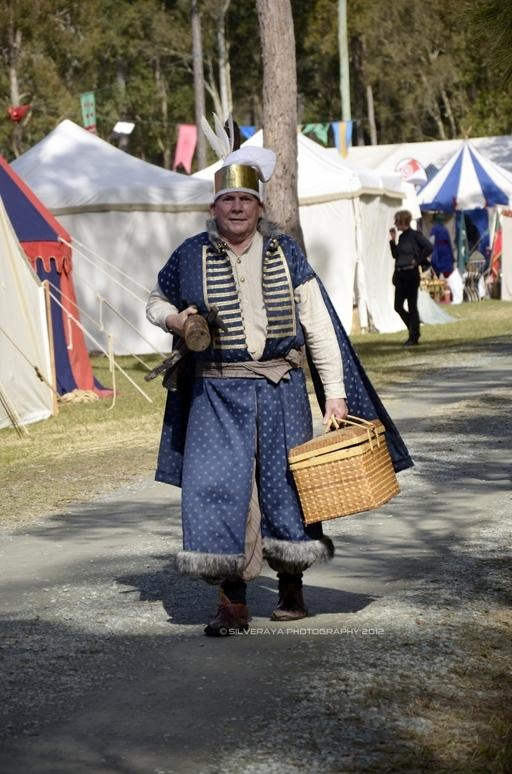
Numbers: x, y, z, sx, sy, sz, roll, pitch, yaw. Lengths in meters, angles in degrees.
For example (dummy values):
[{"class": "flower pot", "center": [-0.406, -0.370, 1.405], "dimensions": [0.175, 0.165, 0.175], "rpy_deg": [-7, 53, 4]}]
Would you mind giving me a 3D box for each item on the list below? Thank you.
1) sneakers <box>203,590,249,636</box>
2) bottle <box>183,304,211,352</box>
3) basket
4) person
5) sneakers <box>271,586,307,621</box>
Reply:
[{"class": "sneakers", "center": [-0.089, 0.779, 3.881], "dimensions": [0.183, 0.167, 0.097], "rpy_deg": [-13, -7, -4]}, {"class": "bottle", "center": [-0.193, -0.175, 3.619], "dimensions": [0.086, 0.150, 0.275], "rpy_deg": [-3, 5, -3]}, {"class": "basket", "center": [0.317, 0.249, 3.738], "dimensions": [0.318, 0.372, 0.506], "rpy_deg": [-20, -2, 17]}, {"class": "person", "center": [0.035, 0.010, 3.811], "dimensions": [0.780, 1.639, 0.442], "rpy_deg": [-4, 6, -5]}, {"class": "sneakers", "center": [0.120, 0.758, 3.933], "dimensions": [0.162, 0.145, 0.082], "rpy_deg": [-1, -4, -7]}]
